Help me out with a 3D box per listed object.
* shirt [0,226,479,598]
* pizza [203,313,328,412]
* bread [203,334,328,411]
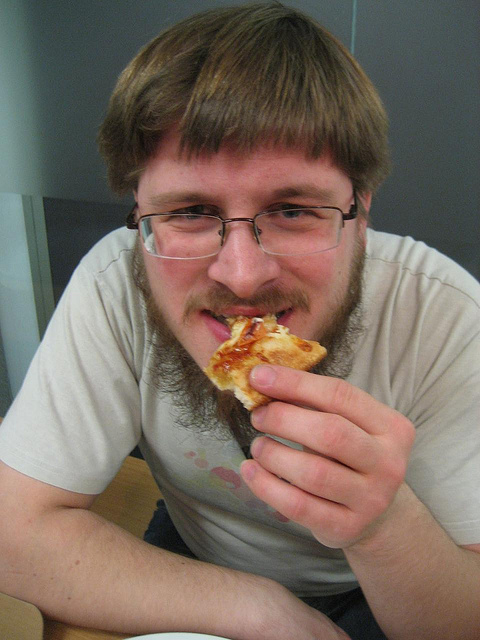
[{"bbox_3d":[0.019,0.262,1.621,1.234,0.751,0.559,7,30,15],"label":"shirt"},{"bbox_3d":[0.038,0.061,1.372,0.295,0.061,0.305,-24,38,-24],"label":"pizza"},{"bbox_3d":[0.051,0.103,1.334,0.279,0.217,0.058,9,8,25],"label":"bread"}]
